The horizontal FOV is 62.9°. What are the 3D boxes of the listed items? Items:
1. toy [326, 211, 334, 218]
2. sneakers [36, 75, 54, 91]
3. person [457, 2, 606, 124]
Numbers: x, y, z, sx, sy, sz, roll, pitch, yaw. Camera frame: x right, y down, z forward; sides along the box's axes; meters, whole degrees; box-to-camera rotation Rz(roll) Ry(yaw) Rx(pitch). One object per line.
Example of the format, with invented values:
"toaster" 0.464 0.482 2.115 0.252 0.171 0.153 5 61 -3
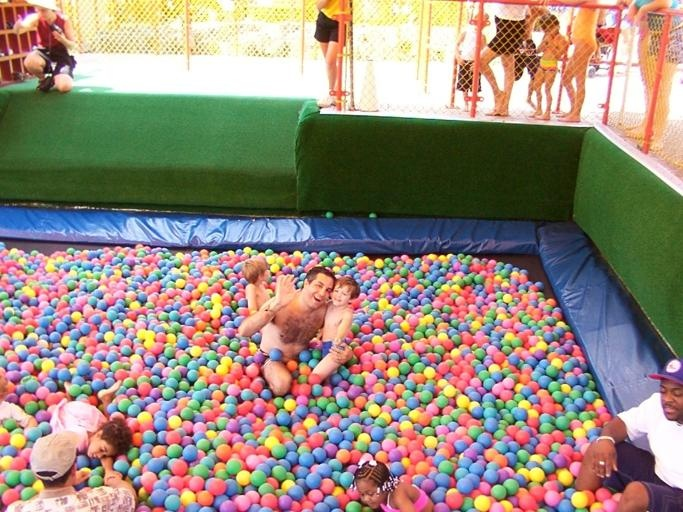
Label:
"toy" -0.117 -0.385 5.307 0.076 0.048 0.059 3 34 1
"sneakers" -3.107 -1.811 5.910 0.263 0.124 0.109 3 16 34
"person" 1.731 -1.747 4.970 0.970 1.008 0.352 5 34 4
